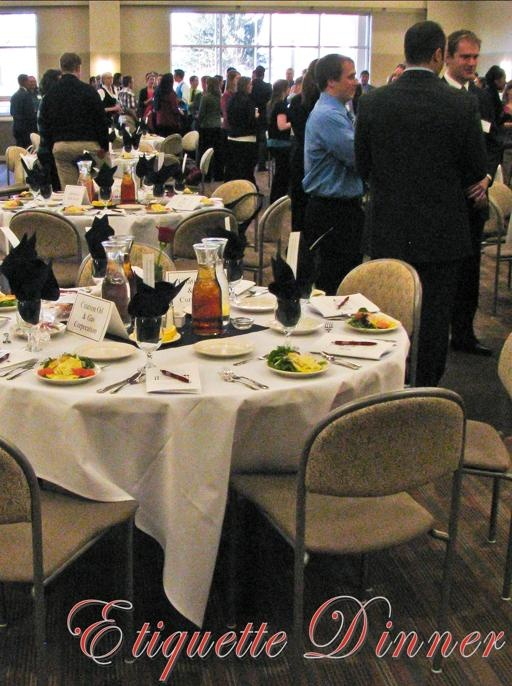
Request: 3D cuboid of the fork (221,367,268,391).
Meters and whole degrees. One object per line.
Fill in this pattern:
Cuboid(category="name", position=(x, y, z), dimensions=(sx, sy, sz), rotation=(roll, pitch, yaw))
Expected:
Cuboid(category="fork", position=(-0.027, 0.083, 1.241), dimensions=(0.038, 0.018, 0.129), rotation=(-12, 25, -42))

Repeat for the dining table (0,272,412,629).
Cuboid(category="dining table", position=(-0.152, 0.153, 1.195), dimensions=(0.743, 0.441, 0.721), rotation=(-12, 20, -37))

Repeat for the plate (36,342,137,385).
Cuboid(category="plate", position=(-0.388, 0.043, 1.315), dimensions=(0.096, 0.013, 0.167), rotation=(12, 15, 21))

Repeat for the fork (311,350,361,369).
Cuboid(category="fork", position=(0.201, 0.045, 1.394), dimensions=(0.035, 0.015, 0.132), rotation=(6, 10, -30))

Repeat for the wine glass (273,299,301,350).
Cuboid(category="wine glass", position=(0.078, -0.054, 1.406), dimensions=(0.076, 0.118, 0.081), rotation=(1, 5, 5))

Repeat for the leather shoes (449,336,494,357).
Cuboid(category="leather shoes", position=(1.337, 0.015, 3.582), dimensions=(0.277, 0.120, 0.093), rotation=(8, 16, 29))
